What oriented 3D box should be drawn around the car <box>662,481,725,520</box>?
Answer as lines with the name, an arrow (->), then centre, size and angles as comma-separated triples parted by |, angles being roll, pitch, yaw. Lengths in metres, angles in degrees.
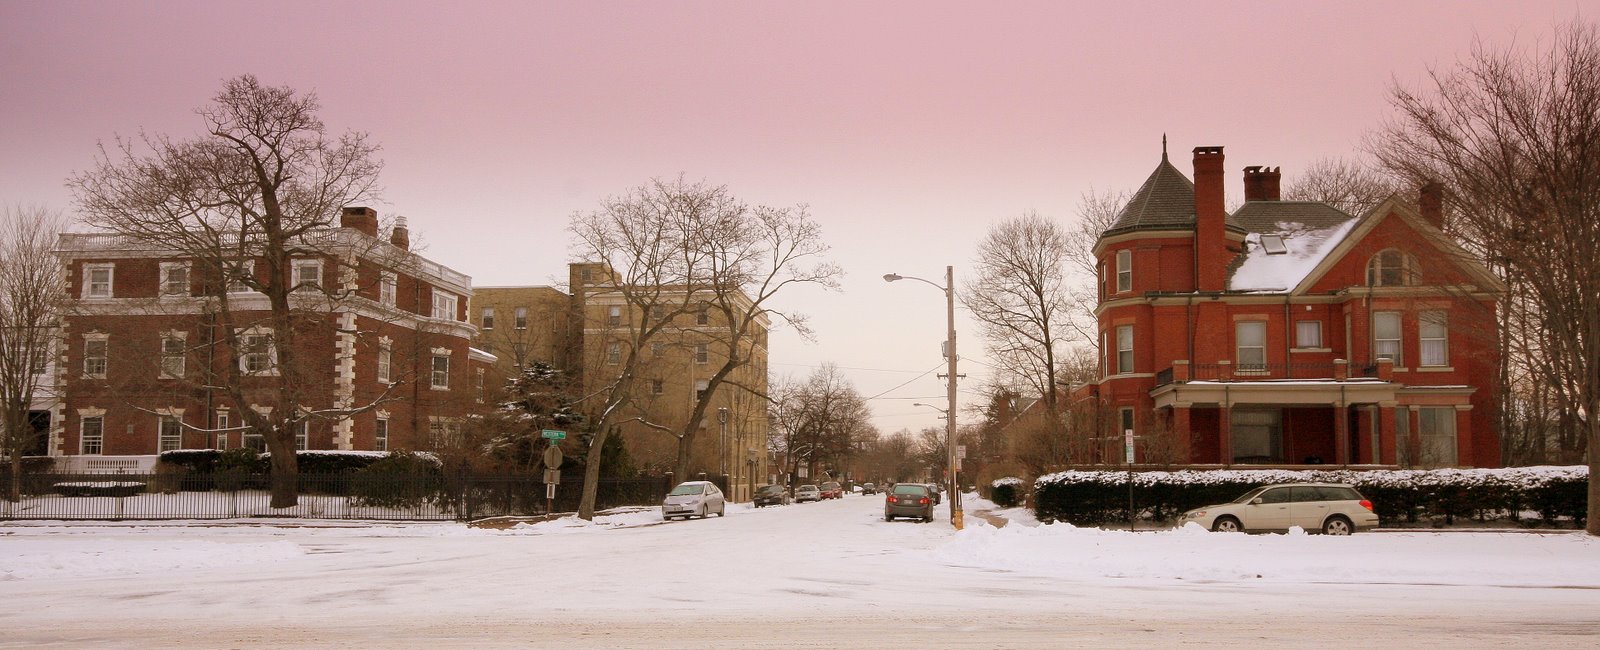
car -> -8.296, 13.469, 115.469 | 2.035, 3.158, 5.648 | -8, -14, 28
